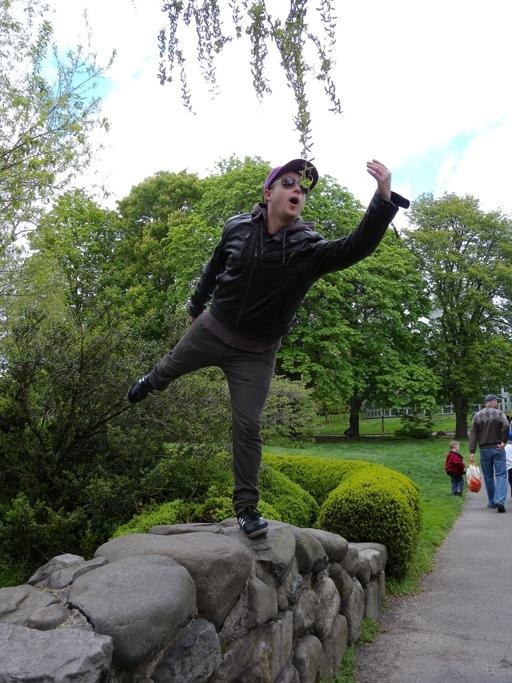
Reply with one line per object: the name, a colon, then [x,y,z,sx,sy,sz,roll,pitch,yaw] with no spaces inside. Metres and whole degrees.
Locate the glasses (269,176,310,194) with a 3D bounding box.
glasses: [0.182,-0.758,2.556,0.100,0.055,0.126,14,-18,-13]

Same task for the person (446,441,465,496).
person: [4.311,2.678,11.525,0.347,1.105,1.610,1,-7,22]

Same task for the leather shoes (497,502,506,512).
leather shoes: [3.883,2.622,8.442,0.136,0.149,0.295,0,-7,24]

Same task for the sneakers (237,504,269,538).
sneakers: [-0.015,0.910,2.689,0.085,0.092,0.203,-3,-16,-20]
